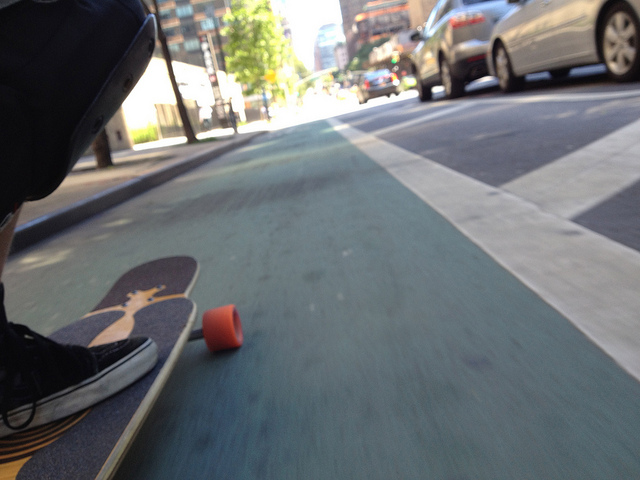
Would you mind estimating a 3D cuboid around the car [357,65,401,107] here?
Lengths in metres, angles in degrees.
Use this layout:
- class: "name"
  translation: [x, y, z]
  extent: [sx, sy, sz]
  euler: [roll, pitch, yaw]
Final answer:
- class: "car"
  translation: [4.364, -11.377, 28.507]
  extent: [2.979, 2.052, 1.614]
  euler: [-5, 20, 21]
